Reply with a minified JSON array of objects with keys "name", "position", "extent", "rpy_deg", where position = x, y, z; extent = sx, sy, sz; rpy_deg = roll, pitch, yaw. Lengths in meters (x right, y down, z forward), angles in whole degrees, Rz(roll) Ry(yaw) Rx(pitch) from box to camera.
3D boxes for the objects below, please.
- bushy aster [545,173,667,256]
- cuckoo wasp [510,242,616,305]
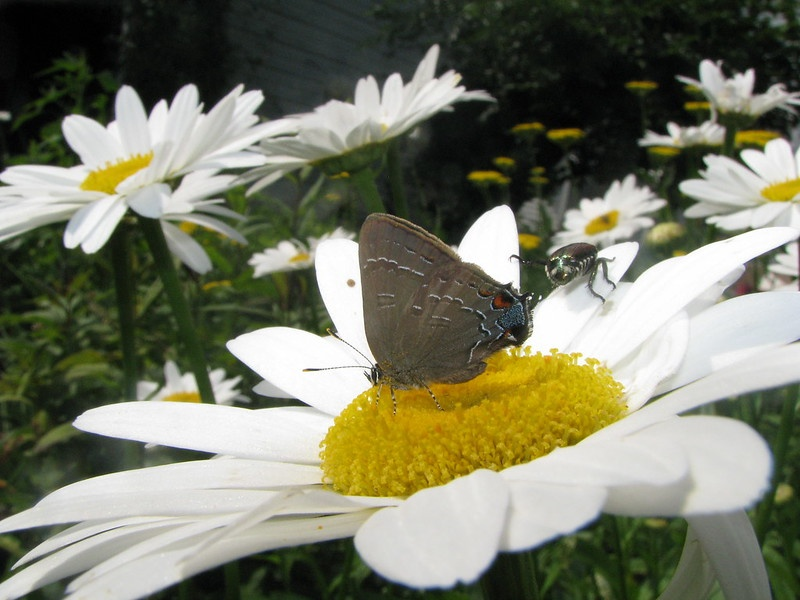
[{"name":"bushy aster","position":[0.936,-0.334,3.477],"extent":[0.341,0.428,0.461],"rpy_deg":[11,18,35]},{"name":"cuckoo wasp","position":[0.487,-0.122,2.149],"extent":[0.276,0.101,0.316],"rpy_deg":[4,-5,18]}]
